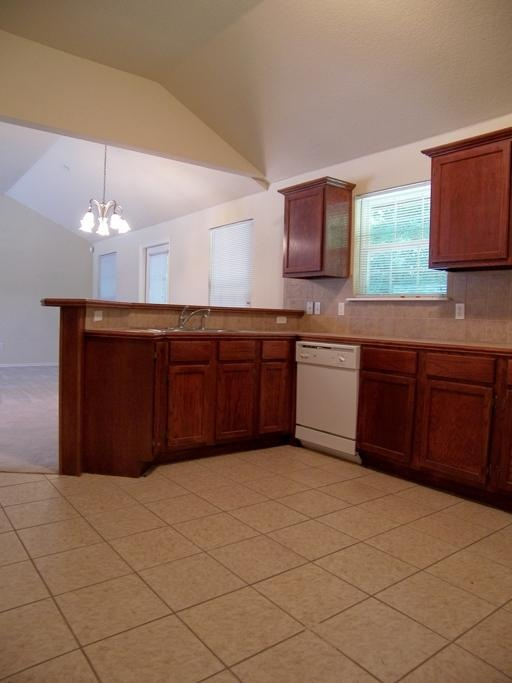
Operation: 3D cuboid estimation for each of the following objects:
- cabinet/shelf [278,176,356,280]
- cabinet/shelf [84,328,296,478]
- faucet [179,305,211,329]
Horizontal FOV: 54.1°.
[{"bbox_3d":[0.489,-0.941,4.210,0.623,0.623,0.436,2,1,12],"label":"cabinet/shelf"},{"bbox_3d":[-0.375,0.365,3.299,1.439,0.841,0.351,1,2,-44],"label":"cabinet/shelf"},{"bbox_3d":[-0.464,-0.182,3.841,0.276,0.172,0.152,2,1,-20],"label":"faucet"}]
